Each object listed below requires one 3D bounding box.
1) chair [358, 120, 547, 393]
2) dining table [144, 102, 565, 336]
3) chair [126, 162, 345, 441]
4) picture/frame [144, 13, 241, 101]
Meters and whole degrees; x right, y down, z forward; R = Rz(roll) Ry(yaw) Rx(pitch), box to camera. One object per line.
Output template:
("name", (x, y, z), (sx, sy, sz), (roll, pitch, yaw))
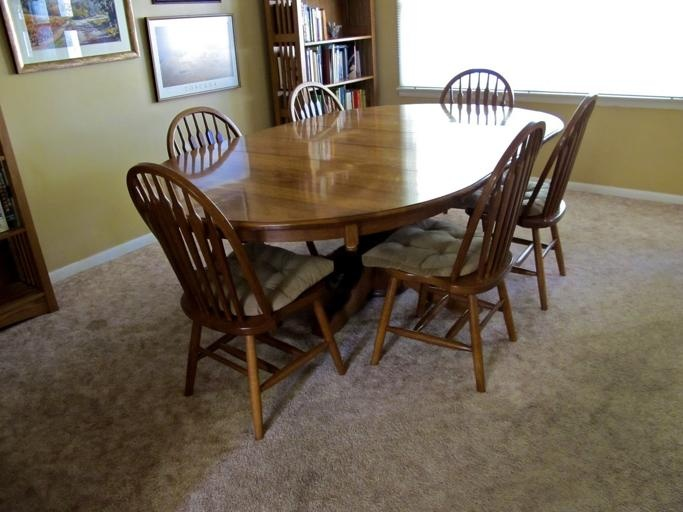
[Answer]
("chair", (0.501, -0.053, 2.282), (0.681, 1.115, 0.621), (9, 31, 21))
("dining table", (0.108, -0.149, 2.390), (0.735, 0.329, 1.349), (18, 41, 32))
("chair", (-0.427, 0.120, 2.180), (0.592, 1.138, 0.715), (18, 31, 37))
("picture/frame", (-1.154, -1.522, 3.784), (0.028, 0.555, 0.732), (19, 33, 40))
